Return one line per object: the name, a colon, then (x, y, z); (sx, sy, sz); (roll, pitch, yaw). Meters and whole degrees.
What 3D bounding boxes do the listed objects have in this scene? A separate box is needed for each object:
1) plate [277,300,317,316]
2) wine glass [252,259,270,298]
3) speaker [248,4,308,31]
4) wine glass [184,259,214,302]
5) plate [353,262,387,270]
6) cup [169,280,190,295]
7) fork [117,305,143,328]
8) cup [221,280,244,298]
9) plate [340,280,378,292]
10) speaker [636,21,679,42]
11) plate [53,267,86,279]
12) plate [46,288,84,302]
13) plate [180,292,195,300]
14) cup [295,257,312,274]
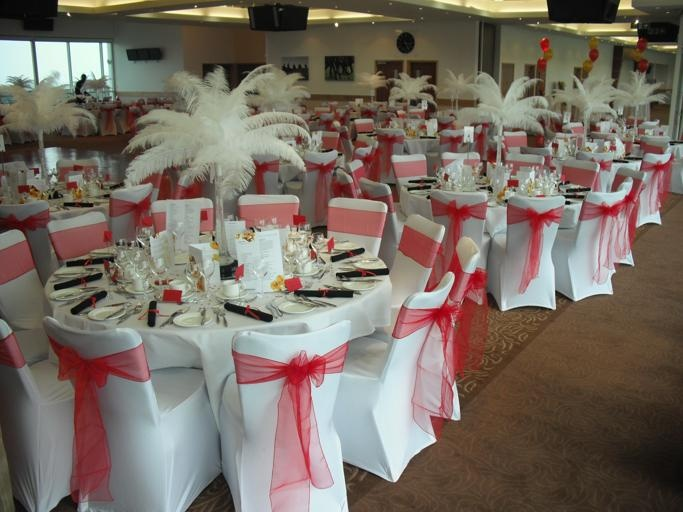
plate: (-0.244, 0.284, 2.595); (0.206, 0.025, 0.166); (-2, 16, -8)
wine glass: (-0.457, 0.117, 2.775); (0.091, 0.193, 0.047); (-3, 17, -11)
speaker: (-1.608, -5.478, 11.074); (0.990, 0.492, 0.797); (15, 21, 42)
wine glass: (-0.816, 0.136, 2.750); (0.153, 0.212, 0.257); (-4, 17, -15)
plate: (0.188, 0.069, 3.139); (0.211, 0.026, 0.191); (1, 16, 1)
cup: (-0.942, 0.181, 2.771); (0.090, 0.074, 0.070); (-2, 15, -24)
fork: (-1.127, 0.316, 2.546); (0.037, 0.012, 0.152); (20, 14, 2)
cup: (-0.622, 0.193, 2.709); (0.076, 0.075, 0.104); (1, -1, 37)
plate: (0.107, 0.180, 2.855); (0.102, 0.016, 0.104); (-7, 17, -25)
speaker: (9.637, -6.849, 14.461); (1.405, 0.665, 0.739); (-10, 19, -32)
plate: (-1.777, 0.110, 3.117); (0.103, 0.028, 0.146); (9, 16, 13)
plate: (-1.605, 0.230, 2.778); (0.179, 0.020, 0.206); (-14, 21, -41)
plate: (-0.878, 0.234, 2.737); (0.074, 0.024, 0.066); (-4, 16, -14)
cup: (-0.236, 0.068, 3.010); (0.077, 0.095, 0.093); (0, 3, -1)
